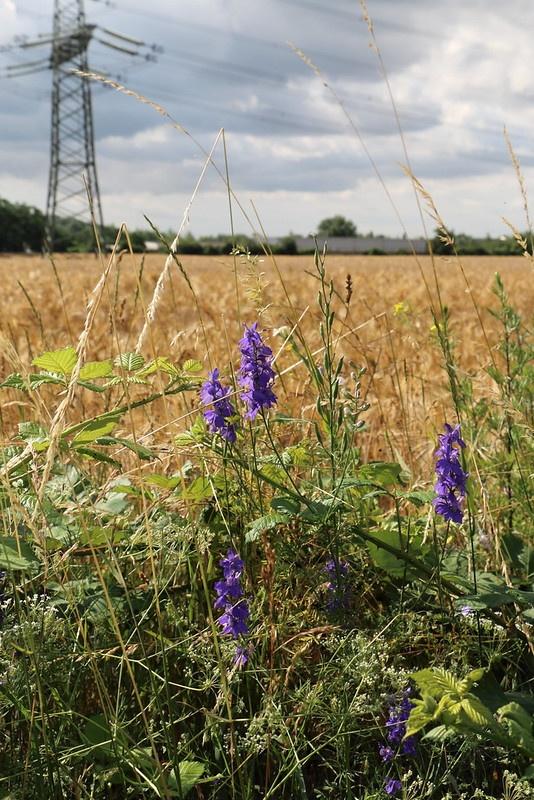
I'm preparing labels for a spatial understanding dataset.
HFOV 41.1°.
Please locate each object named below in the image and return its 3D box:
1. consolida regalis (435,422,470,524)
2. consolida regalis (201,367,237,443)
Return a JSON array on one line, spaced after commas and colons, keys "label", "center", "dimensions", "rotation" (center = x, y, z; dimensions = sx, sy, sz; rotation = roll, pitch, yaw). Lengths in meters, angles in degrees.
[{"label": "consolida regalis", "center": [0.450, 0.181, 1.757], "dimensions": [0.080, 0.274, 0.222], "rotation": [-3, 6, 14]}, {"label": "consolida regalis", "center": [-0.134, 0.012, 1.932], "dimensions": [0.091, 0.200, 0.210], "rotation": [-5, 6, -5]}]
